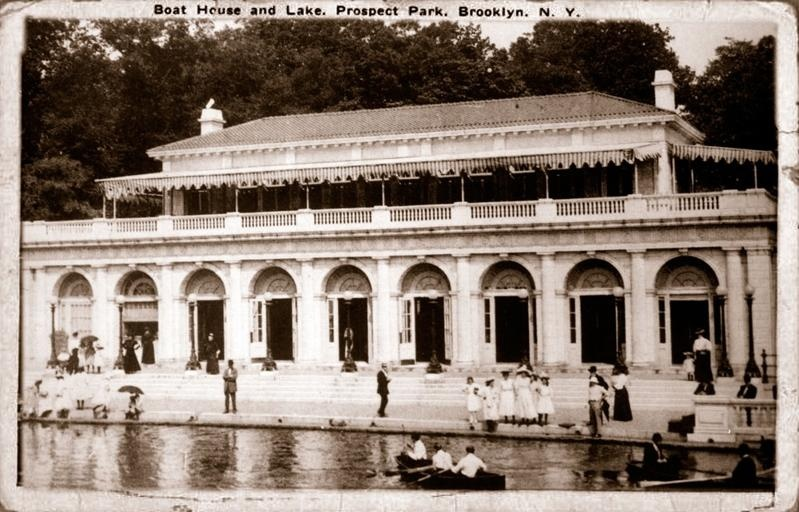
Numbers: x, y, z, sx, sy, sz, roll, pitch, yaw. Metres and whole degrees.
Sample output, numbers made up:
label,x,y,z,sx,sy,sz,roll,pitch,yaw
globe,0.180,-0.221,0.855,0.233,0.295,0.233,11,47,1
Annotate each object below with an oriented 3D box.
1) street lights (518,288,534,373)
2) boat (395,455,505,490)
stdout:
label,x,y,z,sx,sy,sz,roll,pitch,yaw
street lights,5.652,3.149,71.819,0.547,3.130,0.977,1,-1,5
boat,1.544,7.482,55.046,4.214,0.867,1.650,1,-1,29
